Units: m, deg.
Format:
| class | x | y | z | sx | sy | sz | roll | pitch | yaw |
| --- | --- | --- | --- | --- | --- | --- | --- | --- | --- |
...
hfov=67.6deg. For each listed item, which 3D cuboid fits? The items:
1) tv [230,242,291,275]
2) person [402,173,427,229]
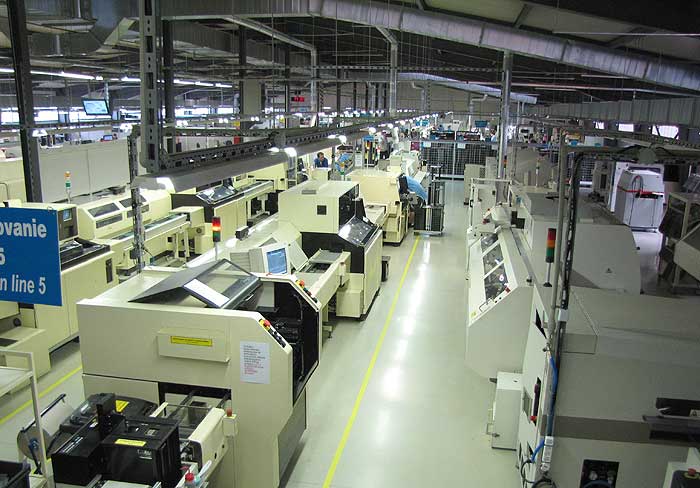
| class | x | y | z | sx | sy | sz | roll | pitch | yaw |
| --- | --- | --- | --- | --- | --- | --- | --- | --- | --- |
| tv | -1.217 | 0.319 | 7.307 | 0.529 | 0.631 | 0.809 | -4 | 6 | 23 |
| person | 1.751 | -1.157 | 13.636 | 0.582 | 1.341 | 0.562 | -8 | -8 | -1 |
